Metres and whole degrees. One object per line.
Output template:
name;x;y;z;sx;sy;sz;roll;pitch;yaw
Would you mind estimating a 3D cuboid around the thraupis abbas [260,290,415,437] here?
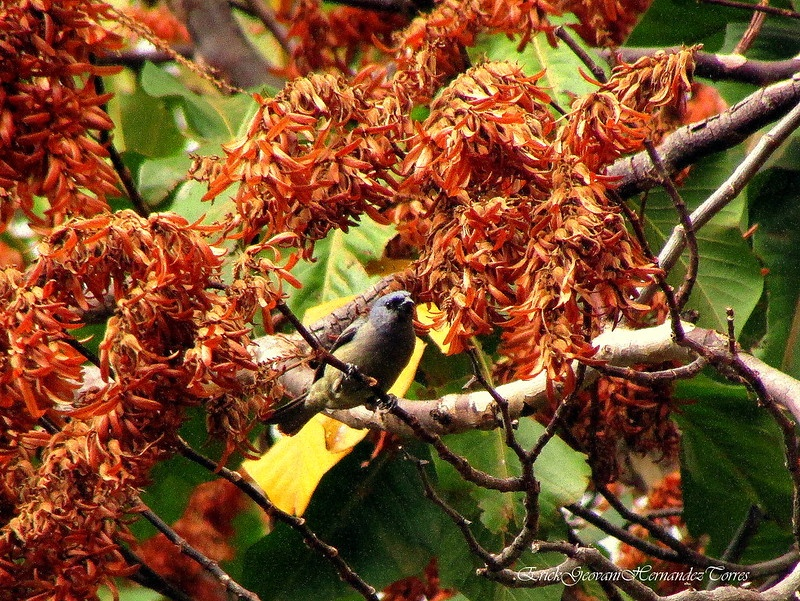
thraupis abbas;-0.269;0.300;7.119;0.634;0.227;0.280;-48;36;-1
